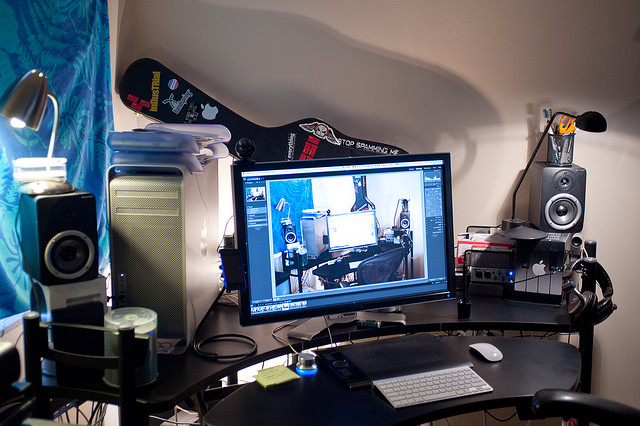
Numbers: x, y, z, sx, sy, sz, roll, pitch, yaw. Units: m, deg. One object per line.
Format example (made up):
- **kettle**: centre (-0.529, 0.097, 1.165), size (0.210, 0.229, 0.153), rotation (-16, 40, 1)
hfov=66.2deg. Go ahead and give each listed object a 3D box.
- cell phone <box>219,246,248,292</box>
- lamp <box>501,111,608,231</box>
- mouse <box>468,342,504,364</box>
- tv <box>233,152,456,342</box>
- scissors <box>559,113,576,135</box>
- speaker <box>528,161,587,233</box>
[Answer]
- **cell phone**: centre (-0.314, 0.199, 1.775), size (0.092, 0.152, 0.033), rotation (1, 2, -11)
- **lamp**: centre (1.133, -0.242, 2.388), size (0.439, 0.621, 0.293), rotation (4, 13, 17)
- **mouse**: centre (0.630, 0.524, 1.841), size (0.061, 0.028, 0.094), rotation (-3, 15, -23)
- **tv**: centre (0.111, 0.135, 1.959), size (0.933, 0.708, 0.233), rotation (-3, 8, -23)
- **scissors**: centre (1.187, -0.414, 2.351), size (0.027, 0.111, 0.062), rotation (21, -9, -34)
- **speaker**: centre (1.141, -0.070, 2.388), size (0.222, 0.343, 0.172), rotation (0, 14, 5)
